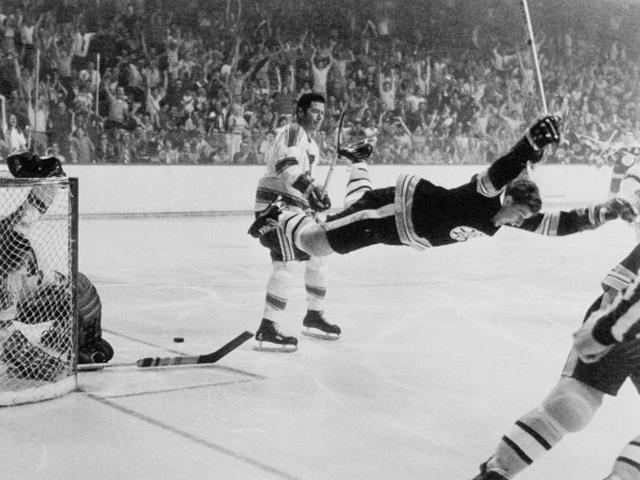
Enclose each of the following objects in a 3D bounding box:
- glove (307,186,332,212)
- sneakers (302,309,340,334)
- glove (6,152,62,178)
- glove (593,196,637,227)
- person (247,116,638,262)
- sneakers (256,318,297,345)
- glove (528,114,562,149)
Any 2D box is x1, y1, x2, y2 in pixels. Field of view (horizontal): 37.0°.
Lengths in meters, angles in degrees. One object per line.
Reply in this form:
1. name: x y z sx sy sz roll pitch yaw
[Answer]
1. glove: 0.006 -0.312 7.377 0.108 0.148 0.197 -13 62 -42
2. sneakers: 0.008 0.683 7.962 0.396 0.179 0.135 5 11 37
3. glove: -2.027 -0.516 6.809 0.333 0.149 0.200 5 5 -25
4. glove: 1.936 -0.178 6.100 0.174 0.189 0.386 -2 11 -18
5. person: 0.619 -0.241 6.500 1.856 0.585 1.130 -2 8 12
6. sneakers: -0.364 0.756 7.679 0.452 0.239 0.142 0 -3 8
7. glove: 1.425 -0.667 6.033 0.228 0.161 0.099 -23 -14 38
